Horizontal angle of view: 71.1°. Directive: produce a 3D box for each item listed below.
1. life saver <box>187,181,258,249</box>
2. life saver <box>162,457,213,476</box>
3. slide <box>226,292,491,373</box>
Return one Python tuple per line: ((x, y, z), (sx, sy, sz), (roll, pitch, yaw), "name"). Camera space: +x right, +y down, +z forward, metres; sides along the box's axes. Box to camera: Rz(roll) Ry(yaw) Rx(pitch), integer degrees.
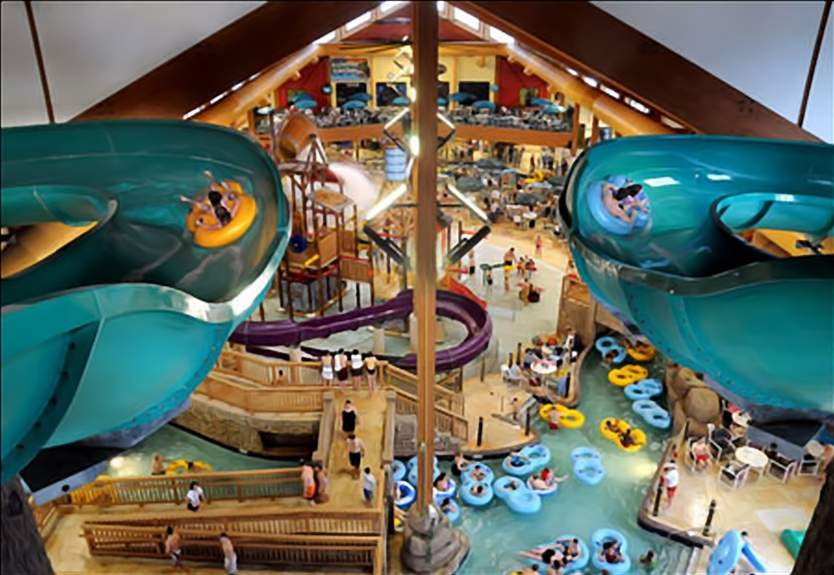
((-2.550, -0.915, 7.371), (0.850, 0.873, 0.256), (26, -7, 6), "life saver")
((-5.106, 4.011, 12.955), (0.669, 0.157, 0.626), (0, 9, -32), "life saver")
((-1.446, 1.177, 15.183), (6.964, 0.930, 3.960), (-5, 25, -13), "slide")
